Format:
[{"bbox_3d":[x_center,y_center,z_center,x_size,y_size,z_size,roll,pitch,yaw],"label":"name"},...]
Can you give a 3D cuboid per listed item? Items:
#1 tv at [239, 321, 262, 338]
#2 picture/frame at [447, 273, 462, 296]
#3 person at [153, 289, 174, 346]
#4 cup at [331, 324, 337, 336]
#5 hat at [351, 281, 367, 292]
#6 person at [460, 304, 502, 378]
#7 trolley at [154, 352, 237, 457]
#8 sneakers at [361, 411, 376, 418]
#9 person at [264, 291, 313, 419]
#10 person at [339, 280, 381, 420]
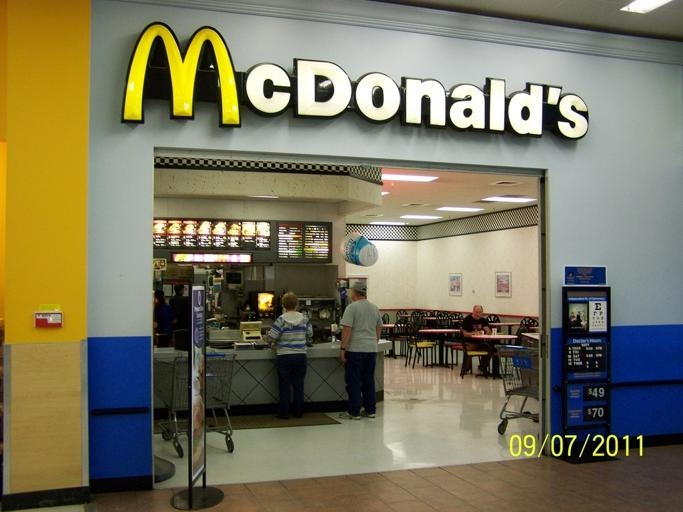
[{"bbox_3d":[-1.415,1.150,8.848,0.319,0.260,0.274,0,-2,-7],"label":"tv"},{"bbox_3d":[3.991,0.964,19.992,0.040,0.855,0.759,0,4,-22],"label":"picture/frame"},{"bbox_3d":[-3.119,1.073,9.924,0.295,0.938,0.444,0,-2,-19],"label":"person"},{"bbox_3d":[-0.120,1.266,9.741,0.123,0.236,0.123,1,3,0],"label":"cup"},{"bbox_3d":[0.262,0.465,8.576,0.169,0.098,0.174,-1,3,-2],"label":"hat"},{"bbox_3d":[3.028,1.851,12.549,0.767,1.488,1.252,-1,-2,12],"label":"person"},{"bbox_3d":[-2.014,1.946,7.796,0.930,1.710,1.836,-4,-14,3],"label":"trolley"},{"bbox_3d":[0.401,2.342,8.532,0.076,0.091,0.201,0,3,-31],"label":"sneakers"},{"bbox_3d":[-0.767,1.445,8.467,0.644,1.805,0.459,0,-2,-6],"label":"person"},{"bbox_3d":[0.288,1.374,8.499,0.465,2.012,0.674,-2,-3,38],"label":"person"}]
